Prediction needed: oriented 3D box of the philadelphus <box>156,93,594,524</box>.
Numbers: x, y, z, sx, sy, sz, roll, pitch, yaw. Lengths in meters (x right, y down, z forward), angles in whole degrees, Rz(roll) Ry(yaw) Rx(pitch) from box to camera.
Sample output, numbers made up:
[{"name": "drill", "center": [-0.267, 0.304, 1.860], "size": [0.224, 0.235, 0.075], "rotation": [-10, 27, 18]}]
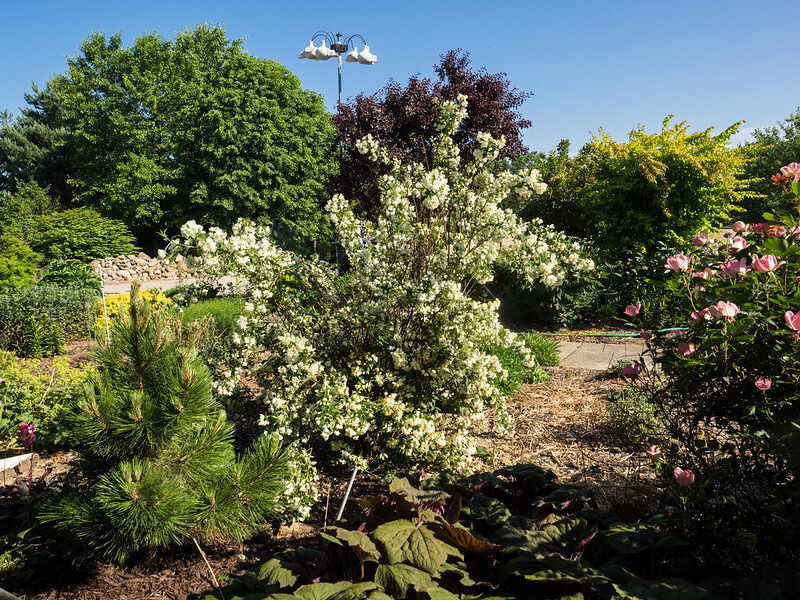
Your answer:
[{"name": "philadelphus", "center": [-0.104, -0.202, 5.162], "size": [2.733, 3.326, 1.731], "rotation": [-2, 4, -39]}]
